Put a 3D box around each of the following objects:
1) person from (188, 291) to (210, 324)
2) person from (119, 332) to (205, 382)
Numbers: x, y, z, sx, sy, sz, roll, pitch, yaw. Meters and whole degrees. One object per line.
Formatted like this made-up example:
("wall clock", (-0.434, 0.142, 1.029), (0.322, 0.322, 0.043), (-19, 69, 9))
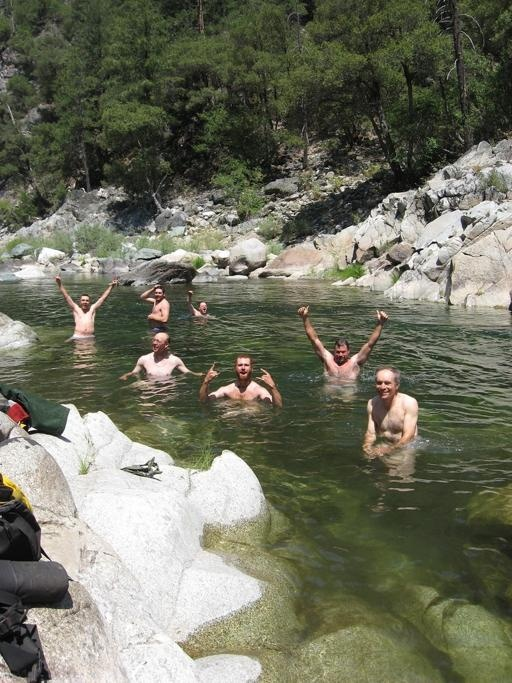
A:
("person", (-1.640, -0.967, 19.298), (0.427, 0.523, 1.286), (-21, -27, 25))
("person", (-1.554, 0.271, 11.089), (1.441, 0.729, 0.415), (0, 2, 7))
